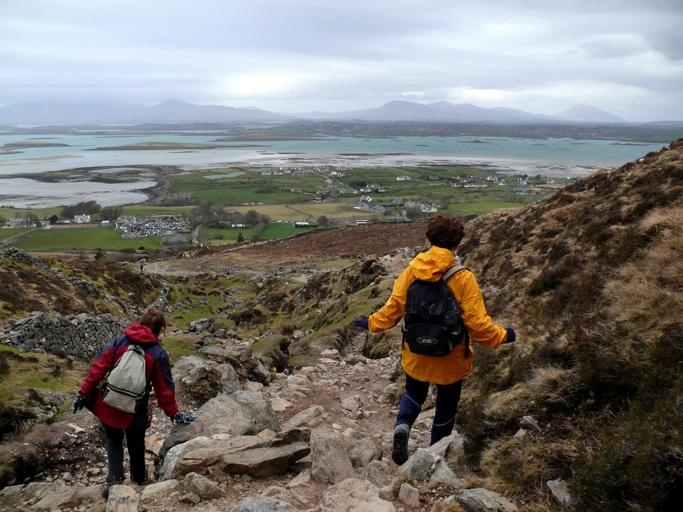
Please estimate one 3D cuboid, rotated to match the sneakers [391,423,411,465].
[{"bbox_3d":[0.917,2.854,7.443,0.384,0.531,0.298,2,-9,11],"label":"sneakers"}]
